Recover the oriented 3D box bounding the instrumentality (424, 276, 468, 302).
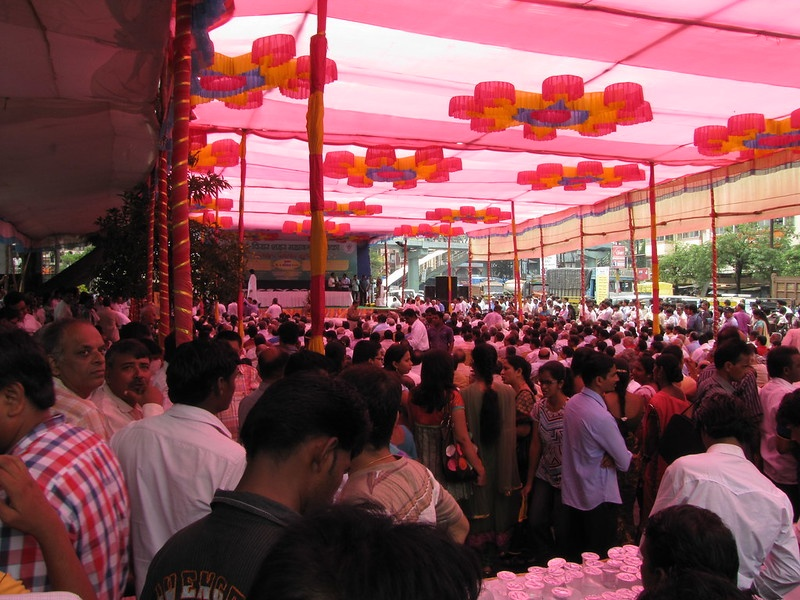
[{"bbox_3d":[2.018,-0.454,27.620,1.497,1.170,0.800,0,-5,-7],"label":"instrumentality"}]
